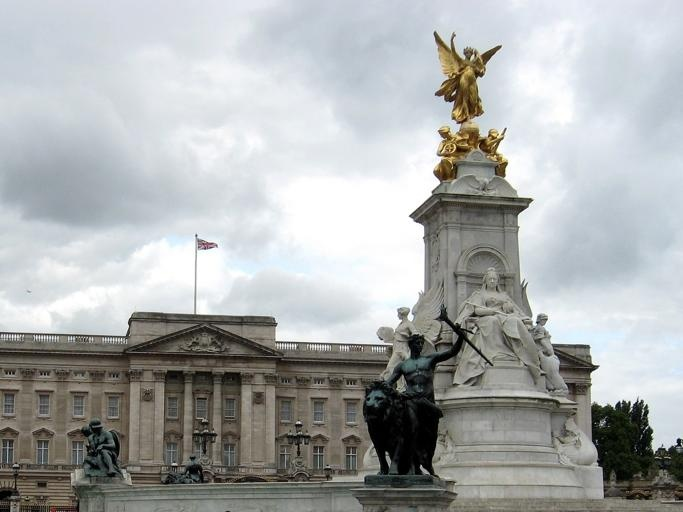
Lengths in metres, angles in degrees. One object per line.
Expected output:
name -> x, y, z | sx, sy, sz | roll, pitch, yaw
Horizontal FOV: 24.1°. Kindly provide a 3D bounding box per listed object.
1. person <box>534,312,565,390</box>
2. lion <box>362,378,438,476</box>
person -> 9.042, 4.308, 69.989 | 1.085, 3.520, 1.379 | -7, -11, 13
lion -> 2.279, 6.734, 60.134 | 1.753, 3.250, 5.615 | -6, -17, 28
